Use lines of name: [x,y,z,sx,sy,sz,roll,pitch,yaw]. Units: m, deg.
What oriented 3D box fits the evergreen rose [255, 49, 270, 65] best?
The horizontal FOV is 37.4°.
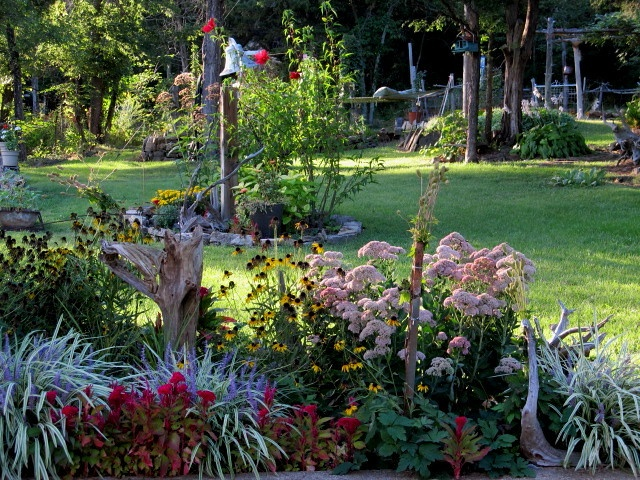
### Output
evergreen rose: [-0.973,-3.036,15.701,0.182,0.227,0.251,2,4,1]
